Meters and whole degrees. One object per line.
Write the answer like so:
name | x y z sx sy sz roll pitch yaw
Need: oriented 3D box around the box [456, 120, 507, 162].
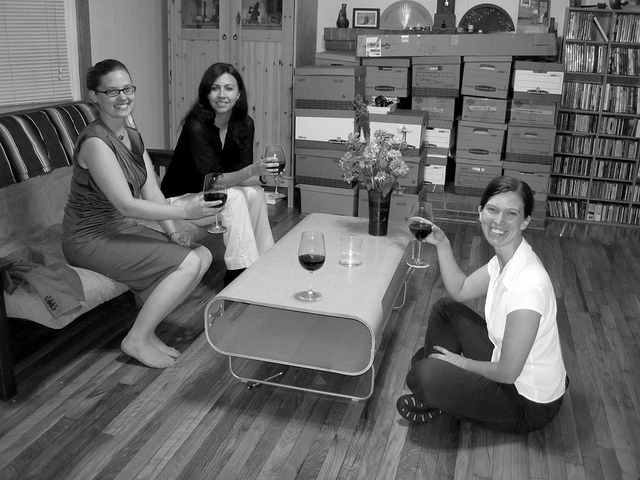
box | 1.646 -1.049 4.595 0.657 0.409 0.698 11 11 35

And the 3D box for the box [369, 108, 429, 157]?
box | 0.781 -1.050 4.190 0.686 0.485 0.725 7 21 20

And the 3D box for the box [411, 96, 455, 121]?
box | 1.198 -1.370 4.382 0.407 0.280 0.250 10 31 22

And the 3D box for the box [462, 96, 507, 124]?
box | 1.662 -1.317 4.284 0.407 0.251 0.083 4 20 8

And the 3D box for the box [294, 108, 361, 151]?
box | 0.057 -1.150 4.346 0.713 0.519 0.790 2 13 5

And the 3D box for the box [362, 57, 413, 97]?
box | 0.799 -1.818 4.601 0.567 0.356 0.610 10 32 20

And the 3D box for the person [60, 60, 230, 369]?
person | -0.881 -0.185 2.399 0.867 1.448 0.756 7 15 14

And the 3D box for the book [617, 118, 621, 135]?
book | 3.082 -1.176 4.360 0.034 0.154 0.019 15 24 35

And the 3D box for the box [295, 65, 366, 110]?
box | 0.034 -1.705 4.636 0.872 0.532 0.927 7 15 15

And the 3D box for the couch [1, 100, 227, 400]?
couch | -1.134 0.078 2.276 0.608 0.776 1.353 9 24 18

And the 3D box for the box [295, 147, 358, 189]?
box | 0.007 -0.772 4.466 0.583 0.410 0.630 6 17 16

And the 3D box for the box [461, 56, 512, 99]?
box | 1.658 -1.630 4.219 0.398 0.334 0.428 13 31 13

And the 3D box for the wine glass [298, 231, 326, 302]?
wine glass | -0.035 0.121 1.822 0.125 0.343 0.143 0 28 -3

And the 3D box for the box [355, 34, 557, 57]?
box | 1.331 -1.939 4.230 1.916 0.223 0.119 4 20 8

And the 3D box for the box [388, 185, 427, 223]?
box | 0.849 -0.358 4.257 0.279 0.296 0.219 11 32 27

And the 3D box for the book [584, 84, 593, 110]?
book | 2.769 -1.478 4.351 0.037 0.180 0.174 4 -2 -2

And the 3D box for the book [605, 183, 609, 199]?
book | 3.048 -0.519 4.488 0.024 0.156 0.037 -13 24 -34

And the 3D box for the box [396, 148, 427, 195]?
box | 0.926 -0.703 4.348 0.269 0.388 0.383 12 28 25

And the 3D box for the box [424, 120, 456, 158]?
box | 1.265 -1.089 4.473 0.322 0.346 0.345 7 22 22

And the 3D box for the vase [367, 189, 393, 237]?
vase | 0.345 -0.163 2.522 0.161 0.277 0.171 -6 15 -29

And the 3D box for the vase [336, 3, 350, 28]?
vase | 0.265 -2.489 4.701 0.148 0.237 0.078 -5 20 -15

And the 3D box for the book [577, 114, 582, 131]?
book | 2.714 -1.225 4.423 0.043 0.155 0.024 3 20 6

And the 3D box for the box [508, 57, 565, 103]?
box | 2.166 -1.528 4.373 0.577 0.396 0.625 5 -4 26

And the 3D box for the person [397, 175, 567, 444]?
person | 0.656 0.296 1.774 0.651 1.018 0.663 0 13 -21

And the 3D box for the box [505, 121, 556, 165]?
box | 2.114 -0.965 4.236 0.390 0.332 0.429 7 -8 17

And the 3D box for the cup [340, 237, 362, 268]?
cup | 0.159 0.048 2.193 0.123 0.148 0.125 0 21 0

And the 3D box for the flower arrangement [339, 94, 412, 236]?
flower arrangement | 0.395 -0.339 2.493 0.259 0.558 0.267 4 -6 -7

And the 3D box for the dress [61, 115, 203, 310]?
dress | -1.052 -0.124 2.369 0.683 1.030 0.637 11 17 -7
